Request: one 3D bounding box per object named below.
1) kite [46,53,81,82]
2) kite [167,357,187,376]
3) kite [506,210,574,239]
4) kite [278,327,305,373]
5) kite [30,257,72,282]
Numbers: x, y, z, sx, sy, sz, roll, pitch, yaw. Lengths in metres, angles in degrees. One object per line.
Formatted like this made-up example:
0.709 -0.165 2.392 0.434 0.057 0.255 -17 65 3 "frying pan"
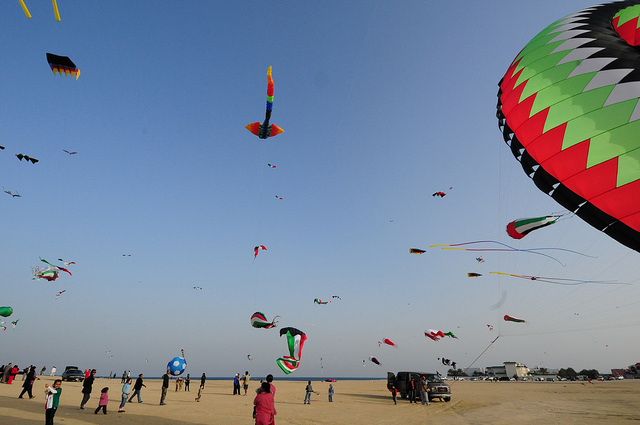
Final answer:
-11.802 -7.440 18.121 1.227 1.352 0.754 -4 -30 6 "kite"
-7.672 8.395 21.279 0.853 0.938 0.808 1 -30 -2 "kite"
7.936 0.177 15.068 1.620 0.593 0.548 -23 -51 28 "kite"
-1.725 7.990 23.614 1.311 2.392 2.006 8 3 41 "kite"
-19.405 3.805 28.630 2.082 2.150 0.903 4 -58 -38 "kite"
